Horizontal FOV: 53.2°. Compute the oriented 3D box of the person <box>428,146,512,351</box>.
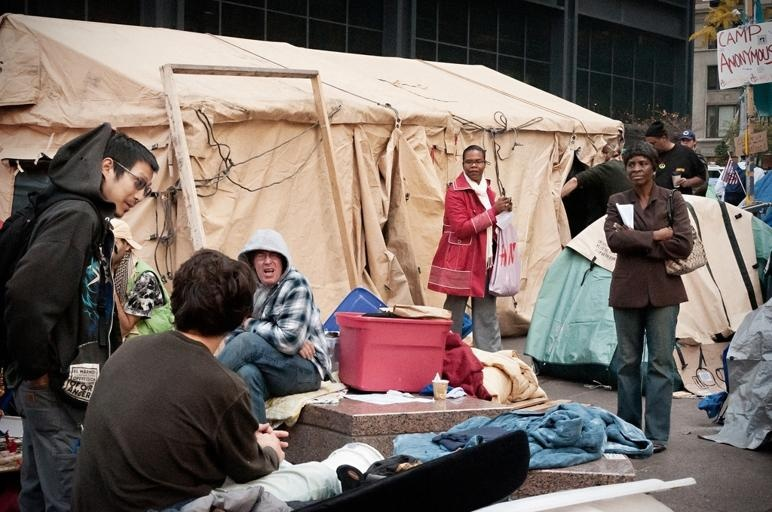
[{"bbox_3d":[0.901,-0.080,8.473,0.864,2.265,0.548,0,1,0],"label":"person"}]

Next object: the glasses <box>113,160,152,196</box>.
[{"bbox_3d":[-1.657,-0.511,5.010,0.173,0.055,0.171,36,0,30],"label":"glasses"}]

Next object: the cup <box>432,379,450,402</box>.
[{"bbox_3d":[0.451,1.113,6.319,0.142,0.148,0.142,-1,-4,0],"label":"cup"}]

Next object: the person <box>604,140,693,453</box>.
[{"bbox_3d":[2.225,0.326,6.578,0.713,2.590,0.515,1,1,23],"label":"person"}]

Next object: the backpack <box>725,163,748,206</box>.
[{"bbox_3d":[6.258,-1.288,13.921,0.360,0.968,0.079,6,-26,6],"label":"backpack"}]

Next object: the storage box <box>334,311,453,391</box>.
[{"bbox_3d":[0.077,0.825,6.697,0.927,0.614,0.745,4,-2,-23],"label":"storage box"}]

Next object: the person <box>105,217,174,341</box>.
[{"bbox_3d":[-1.918,0.172,5.966,0.497,1.385,0.518,4,-24,-27],"label":"person"}]

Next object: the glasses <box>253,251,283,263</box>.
[{"bbox_3d":[-0.935,0.002,6.036,0.121,0.056,0.129,-1,6,-39],"label":"glasses"}]

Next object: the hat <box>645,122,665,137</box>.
[{"bbox_3d":[3.166,-1.496,9.038,0.196,0.203,0.302,1,1,26],"label":"hat"}]
